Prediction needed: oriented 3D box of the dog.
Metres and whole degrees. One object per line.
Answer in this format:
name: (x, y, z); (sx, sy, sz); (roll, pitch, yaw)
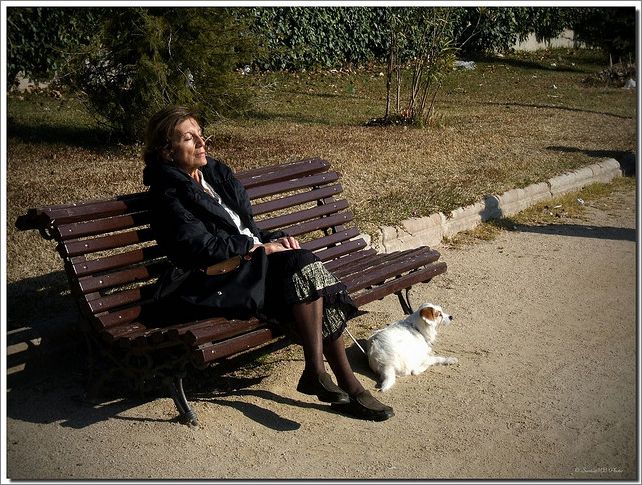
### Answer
dog: (0.759, 0.866, 4.755); (0.885, 0.554, 0.499); (-8, 5, -28)

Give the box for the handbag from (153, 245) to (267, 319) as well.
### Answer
handbag: (-0.847, 0.269, 4.257); (0.880, 0.344, 0.804); (1, -7, -18)

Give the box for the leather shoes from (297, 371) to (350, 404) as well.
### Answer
leather shoes: (0.009, 1.062, 4.061); (0.406, 0.189, 0.175); (6, 5, 29)

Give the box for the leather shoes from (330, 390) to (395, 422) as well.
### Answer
leather shoes: (0.334, 1.187, 4.115); (0.519, 0.216, 0.197); (0, 10, 20)
